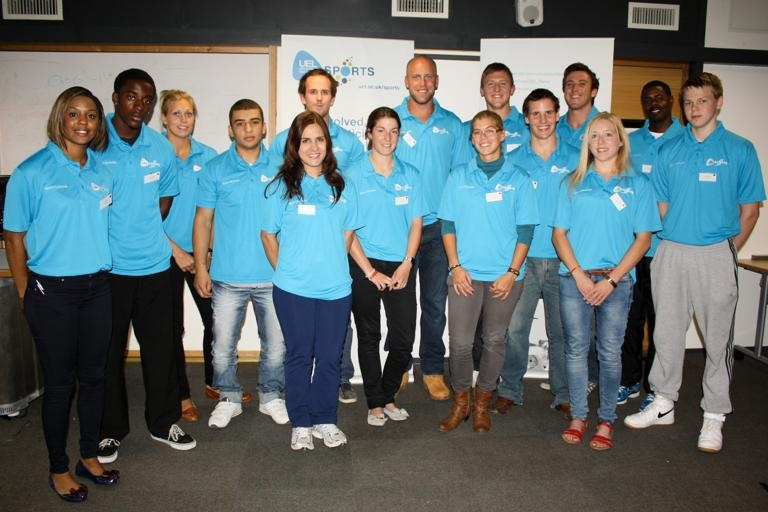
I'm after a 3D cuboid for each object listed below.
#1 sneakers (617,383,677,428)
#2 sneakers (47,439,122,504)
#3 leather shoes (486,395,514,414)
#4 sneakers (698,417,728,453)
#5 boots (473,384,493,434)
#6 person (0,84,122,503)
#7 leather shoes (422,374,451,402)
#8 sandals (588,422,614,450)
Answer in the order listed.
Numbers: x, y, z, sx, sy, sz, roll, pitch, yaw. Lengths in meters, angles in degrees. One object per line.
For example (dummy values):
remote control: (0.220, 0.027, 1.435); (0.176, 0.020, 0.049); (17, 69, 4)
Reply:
sneakers: (2.170, 1.232, 4.646); (0.470, 0.244, 0.111); (-3, 13, -11)
sneakers: (-2.034, 1.406, 3.887); (0.294, 0.215, 0.369); (-1, 6, 37)
leather shoes: (0.978, 1.245, 4.824); (0.196, 0.075, 0.107); (9, -11, -42)
sneakers: (2.494, 1.350, 4.381); (0.124, 0.155, 0.378); (2, 9, 26)
boots: (0.783, 1.201, 4.551); (0.140, 0.312, 0.162); (0, 12, 8)
person: (-2.022, 0.264, 3.796); (0.664, 2.634, 0.462); (-10, 15, -34)
leather shoes: (0.454, 1.116, 4.922); (0.125, 0.248, 0.354); (-2, -6, -20)
sandals: (1.664, 1.355, 4.382); (0.112, 0.103, 0.270); (0, 3, 28)
